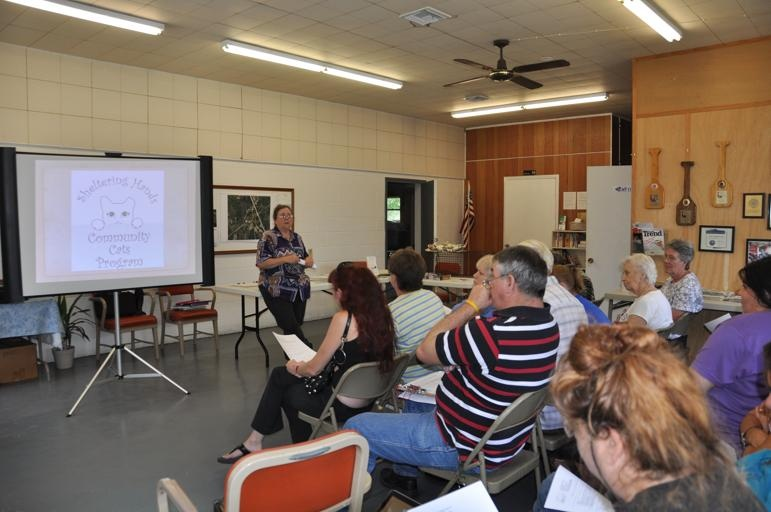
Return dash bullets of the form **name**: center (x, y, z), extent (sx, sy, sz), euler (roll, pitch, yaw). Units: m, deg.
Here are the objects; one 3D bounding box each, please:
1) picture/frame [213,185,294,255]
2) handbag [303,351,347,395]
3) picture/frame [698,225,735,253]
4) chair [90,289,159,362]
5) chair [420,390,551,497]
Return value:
- **picture/frame**: center (-2.076, -0.527, 7.772), extent (1.153, 0.760, 0.051), euler (-5, 10, -45)
- **handbag**: center (-0.448, 0.781, 3.651), extent (0.112, 0.336, 0.244), euler (46, 24, 14)
- **picture/frame**: center (4.275, -0.224, 6.569), extent (0.331, 0.322, 0.023), euler (9, 5, 41)
- **chair**: center (-3.444, 0.912, 6.810), extent (0.768, 0.909, 1.149), euler (-5, 9, -30)
- **chair**: center (0.603, 1.068, 3.004), extent (0.700, 0.678, 0.405), euler (0, 8, -1)
